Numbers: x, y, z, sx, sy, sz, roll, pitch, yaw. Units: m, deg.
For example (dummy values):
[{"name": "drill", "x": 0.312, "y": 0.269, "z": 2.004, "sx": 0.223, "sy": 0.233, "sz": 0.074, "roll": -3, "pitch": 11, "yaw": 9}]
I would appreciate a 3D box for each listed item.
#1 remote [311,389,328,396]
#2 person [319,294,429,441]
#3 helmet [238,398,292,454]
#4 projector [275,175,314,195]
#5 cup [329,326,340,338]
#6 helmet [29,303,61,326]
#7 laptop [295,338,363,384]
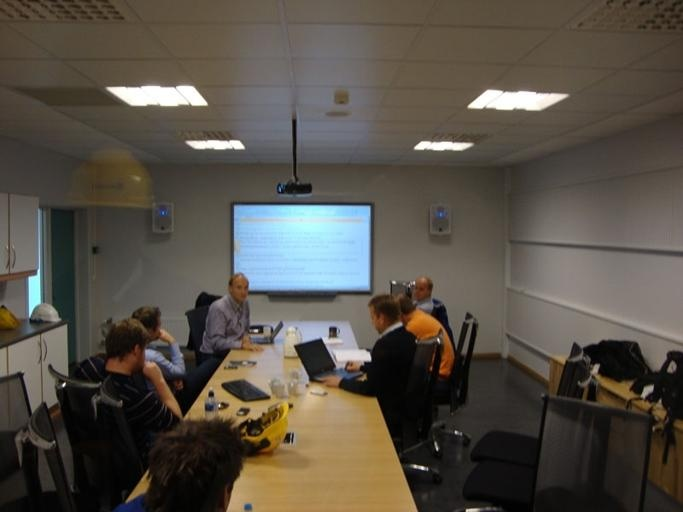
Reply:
[{"name": "remote", "x": -0.173, "y": 1.049, "z": 3.751, "sx": 0.085, "sy": 0.025, "sz": 0.051, "roll": 5, "pitch": 9, "yaw": 8}, {"name": "person", "x": 0.272, "y": 0.860, "z": 4.568, "sx": 0.954, "sy": 1.889, "sz": 0.912, "roll": 3, "pitch": 1, "yaw": 20}, {"name": "helmet", "x": -0.453, "y": 1.023, "z": 2.938, "sx": 0.347, "sy": 0.238, "sz": 0.273, "roll": -27, "pitch": 25, "yaw": 4}, {"name": "projector", "x": -0.603, "y": -0.842, "z": 6.062, "sx": 0.488, "sy": 0.270, "sz": 0.383, "roll": -3, "pitch": 6, "yaw": 0}, {"name": "cup", "x": -0.080, "y": 0.845, "z": 5.414, "sx": 0.073, "sy": 0.132, "sz": 0.125, "roll": 0, "pitch": -1, "yaw": 0}, {"name": "helmet", "x": -3.422, "y": 0.678, "z": 5.600, "sx": 0.281, "sy": 0.207, "sz": 0.206, "roll": 2, "pitch": 0, "yaw": -1}, {"name": "laptop", "x": -0.164, "y": 0.876, "z": 4.108, "sx": 0.221, "sy": 0.371, "sz": 0.341, "roll": -30, "pitch": -18, "yaw": 33}]
